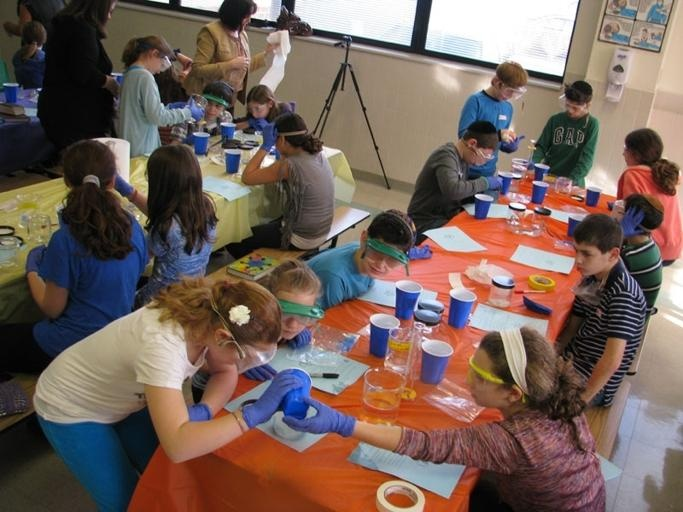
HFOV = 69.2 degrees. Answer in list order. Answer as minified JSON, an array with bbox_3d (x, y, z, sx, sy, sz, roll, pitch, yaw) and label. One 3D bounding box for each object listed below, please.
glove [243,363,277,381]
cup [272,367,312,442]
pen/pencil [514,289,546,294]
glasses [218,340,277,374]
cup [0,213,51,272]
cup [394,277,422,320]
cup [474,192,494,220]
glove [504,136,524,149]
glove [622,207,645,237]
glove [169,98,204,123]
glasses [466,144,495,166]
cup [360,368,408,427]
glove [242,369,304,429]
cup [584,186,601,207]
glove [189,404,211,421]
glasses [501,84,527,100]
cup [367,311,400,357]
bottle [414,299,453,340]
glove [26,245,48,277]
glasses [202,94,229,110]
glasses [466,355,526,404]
[{"bbox_3d":[-0.321,0.477,2.004,0.097,0.032,0.080,5,40,-15],"label":"glove"},{"bbox_3d":[-0.177,0.537,1.754,0.117,0.131,0.180,26,16,-6],"label":"cup"},{"bbox_3d":[1.077,0.204,2.835,0.126,0.019,0.019,-2,10,-6],"label":"pen/pencil"},{"bbox_3d":[-0.330,0.373,1.748,0.144,0.062,0.120,24,21,34],"label":"glasses"},{"bbox_3d":[-1.659,-0.060,2.603,0.180,0.192,0.176,10,42,-9],"label":"cup"},{"bbox_3d":[0.310,0.194,2.448,0.161,0.191,0.159,3,12,-1],"label":"cup"},{"bbox_3d":[1.033,-0.376,3.729,0.158,0.178,0.165,5,24,-2],"label":"cup"},{"bbox_3d":[1.537,-1.018,4.422,0.141,0.118,0.147,7,20,-4],"label":"glove"},{"bbox_3d":[1.901,-0.223,3.219,0.135,0.178,0.186,3,30,20],"label":"glove"},{"bbox_3d":[-1.339,-1.293,4.310,0.299,0.207,0.363,-3,23,-31],"label":"glove"},{"bbox_3d":[1.056,-0.752,3.751,0.128,0.063,0.135,-11,48,-44],"label":"glasses"},{"bbox_3d":[0.141,0.584,1.976,0.181,0.294,0.182,2,38,-1],"label":"cup"},{"bbox_3d":[-0.233,0.495,1.776,0.234,0.112,0.142,-36,19,-17],"label":"glove"},{"bbox_3d":[2.028,-0.484,4.040,0.137,0.159,0.143,0,19,0],"label":"cup"},{"bbox_3d":[-0.500,0.556,1.745,0.047,0.050,0.060,-4,9,9],"label":"glove"},{"bbox_3d":[1.533,-1.466,4.451,0.157,0.106,0.214,-3,47,-26],"label":"glasses"},{"bbox_3d":[0.173,0.346,2.248,0.152,0.180,0.164,4,34,-3],"label":"cup"},{"bbox_3d":[0.452,0.314,2.369,0.149,0.204,0.198,4,-6,-39],"label":"bottle"},{"bbox_3d":[-1.484,0.031,2.415,0.089,0.133,0.043,-4,-25,16],"label":"glove"},{"bbox_3d":[-1.080,-1.340,4.238,0.114,0.052,0.152,17,15,-47],"label":"glasses"},{"bbox_3d":[0.573,0.449,1.831,0.166,0.048,0.137,31,9,13],"label":"glasses"}]
